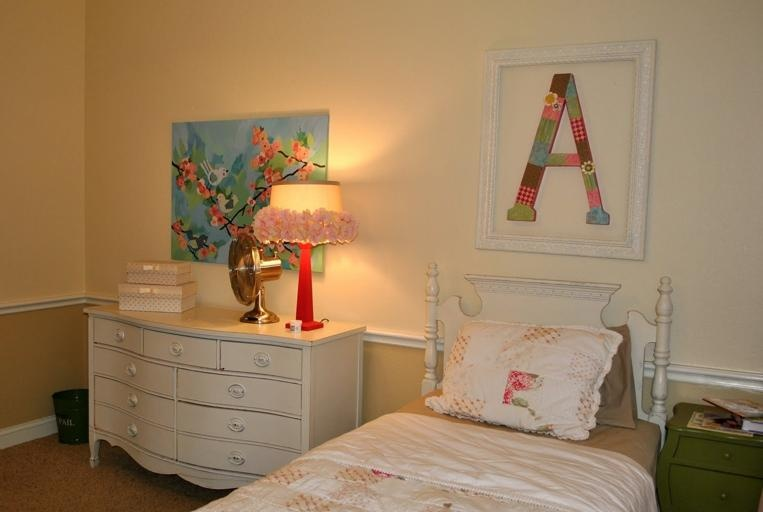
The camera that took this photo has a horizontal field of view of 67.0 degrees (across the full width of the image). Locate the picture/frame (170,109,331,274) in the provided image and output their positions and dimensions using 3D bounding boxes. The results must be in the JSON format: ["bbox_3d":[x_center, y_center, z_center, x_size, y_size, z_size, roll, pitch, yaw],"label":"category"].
[{"bbox_3d":[-1.050,-0.453,4.444,0.014,1.004,1.368,7,8,39],"label":"picture/frame"}]

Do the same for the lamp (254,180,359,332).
[{"bbox_3d":[-0.476,0.008,4.093,0.854,1.101,0.867,-2,-1,25],"label":"lamp"}]
